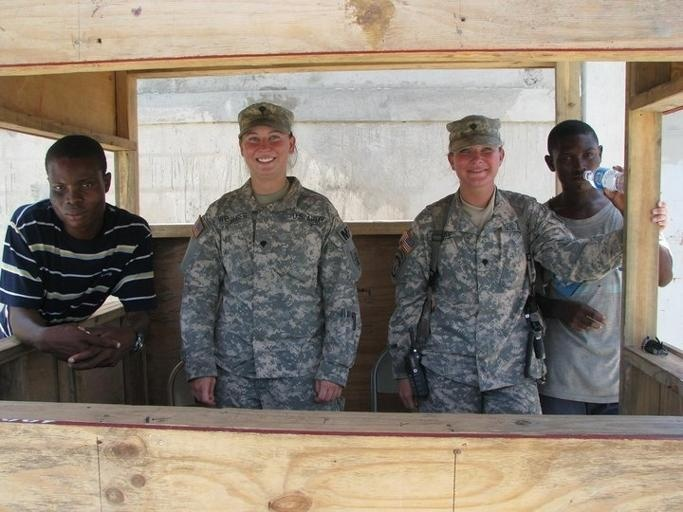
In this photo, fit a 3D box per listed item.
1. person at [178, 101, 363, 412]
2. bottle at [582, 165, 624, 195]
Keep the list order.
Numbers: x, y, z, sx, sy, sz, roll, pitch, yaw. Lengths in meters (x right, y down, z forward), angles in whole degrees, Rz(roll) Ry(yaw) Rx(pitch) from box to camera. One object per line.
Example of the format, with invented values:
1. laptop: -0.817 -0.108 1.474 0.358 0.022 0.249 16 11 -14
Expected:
1. person: -0.328 -0.006 3.910 0.809 1.400 0.379 -1 -1 5
2. bottle: 1.201 -0.349 3.946 0.083 0.062 0.199 13 1 -32
